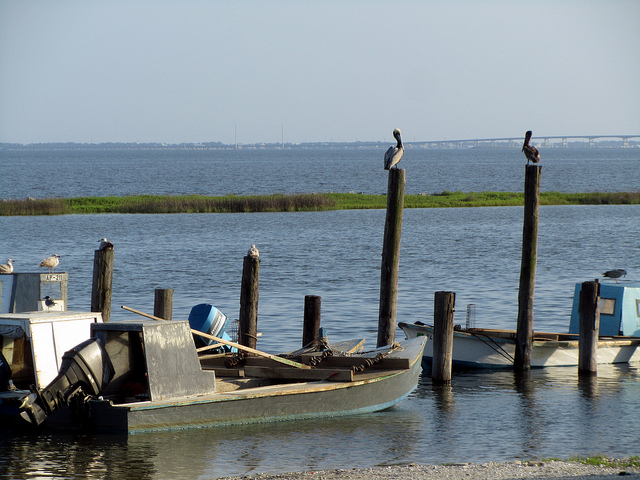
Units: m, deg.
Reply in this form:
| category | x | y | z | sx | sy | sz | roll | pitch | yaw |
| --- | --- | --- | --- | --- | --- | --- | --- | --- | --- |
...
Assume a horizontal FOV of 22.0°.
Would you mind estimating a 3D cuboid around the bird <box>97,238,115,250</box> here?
| category | x | y | z | sx | sy | sz | roll | pitch | yaw |
| --- | --- | --- | --- | --- | --- | --- | --- | --- | --- |
| bird | -8.562 | 0.146 | 65.646 | 0.398 | 0.574 | 1.225 | -4 | 8 | -17 |

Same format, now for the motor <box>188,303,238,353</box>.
| category | x | y | z | sx | sy | sz | roll | pitch | yaw |
| --- | --- | --- | --- | --- | --- | --- | --- | --- | --- |
| motor | -3.537 | 2.835 | 54.486 | 1.282 | 1.753 | 1.437 | -3 | 3 | -8 |
